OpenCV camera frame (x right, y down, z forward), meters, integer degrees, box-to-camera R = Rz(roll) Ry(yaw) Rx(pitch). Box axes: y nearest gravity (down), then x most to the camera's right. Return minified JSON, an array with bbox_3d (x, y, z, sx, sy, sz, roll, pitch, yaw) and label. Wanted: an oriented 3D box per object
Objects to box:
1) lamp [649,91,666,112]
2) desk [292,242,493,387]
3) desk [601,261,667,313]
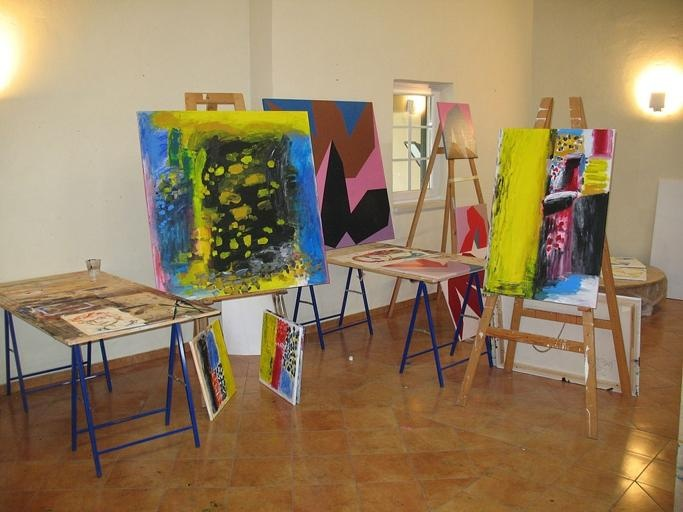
[{"bbox_3d":[3.598,-1.753,6.067,0.159,0.213,0.062,9,17,29],"label":"lamp"},{"bbox_3d":[0.475,0.402,4.635,1.401,0.887,1.569,-10,18,-35],"label":"desk"},{"bbox_3d":[2.974,0.339,5.499,0.593,0.305,0.599,1,16,43],"label":"desk"}]
